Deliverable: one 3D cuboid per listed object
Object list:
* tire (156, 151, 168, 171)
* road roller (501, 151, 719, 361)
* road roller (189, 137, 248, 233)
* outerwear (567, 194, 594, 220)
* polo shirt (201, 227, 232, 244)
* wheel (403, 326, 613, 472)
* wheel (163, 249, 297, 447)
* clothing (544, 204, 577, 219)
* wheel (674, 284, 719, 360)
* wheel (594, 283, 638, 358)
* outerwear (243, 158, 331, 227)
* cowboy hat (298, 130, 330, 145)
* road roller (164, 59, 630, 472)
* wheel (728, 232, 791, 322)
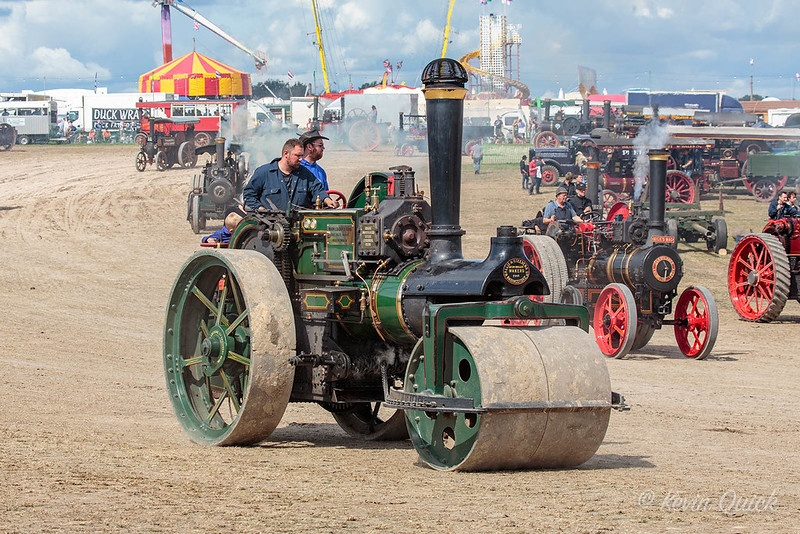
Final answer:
[{"bbox_3d":[-7.028,-3.144,37.196,0.124,0.459,0.446,-5,-22,22],"label":"tire"},{"bbox_3d":[3.049,-0.190,19.177,1.821,2.917,4.732,0,3,-15],"label":"road roller"},{"bbox_3d":[-3.889,-1.835,28.135,1.611,1.924,3.057,1,12,-1],"label":"road roller"},{"bbox_3d":[2.818,-0.940,19.893,0.409,0.407,0.240,1,-15,-36],"label":"outerwear"},{"bbox_3d":[-2.103,-0.347,14.568,0.275,0.123,0.270,-19,15,-37],"label":"polo shirt"},{"bbox_3d":[1.043,1.291,12.484,1.609,1.459,1.387,2,0,-30],"label":"wheel"},{"bbox_3d":[-1.737,0.826,13.021,0.464,1.726,1.432,-1,-20,-43],"label":"wheel"},{"bbox_3d":[2.455,-0.848,19.468,0.442,0.324,0.247,1,-11,-4],"label":"clothing"},{"bbox_3d":[4.074,0.796,17.454,0.277,1.161,0.954,2,-1,-26],"label":"wheel"},{"bbox_3d":[2.921,0.725,17.119,0.322,0.897,0.744,-1,20,-21],"label":"wheel"},{"bbox_3d":[-1.282,-0.856,13.859,1.053,0.753,0.552,-2,-2,-24],"label":"outerwear"},{"bbox_3d":[-1.007,-1.449,14.121,0.231,0.093,0.203,-23,-9,38],"label":"cowboy hat"},{"bbox_3d":[-0.104,0.073,13.058,2.381,4.088,4.936,8,-6,-40],"label":"road roller"},{"bbox_3d":[5.619,0.154,19.733,0.328,1.331,1.261,-3,-3,-22],"label":"wheel"}]
